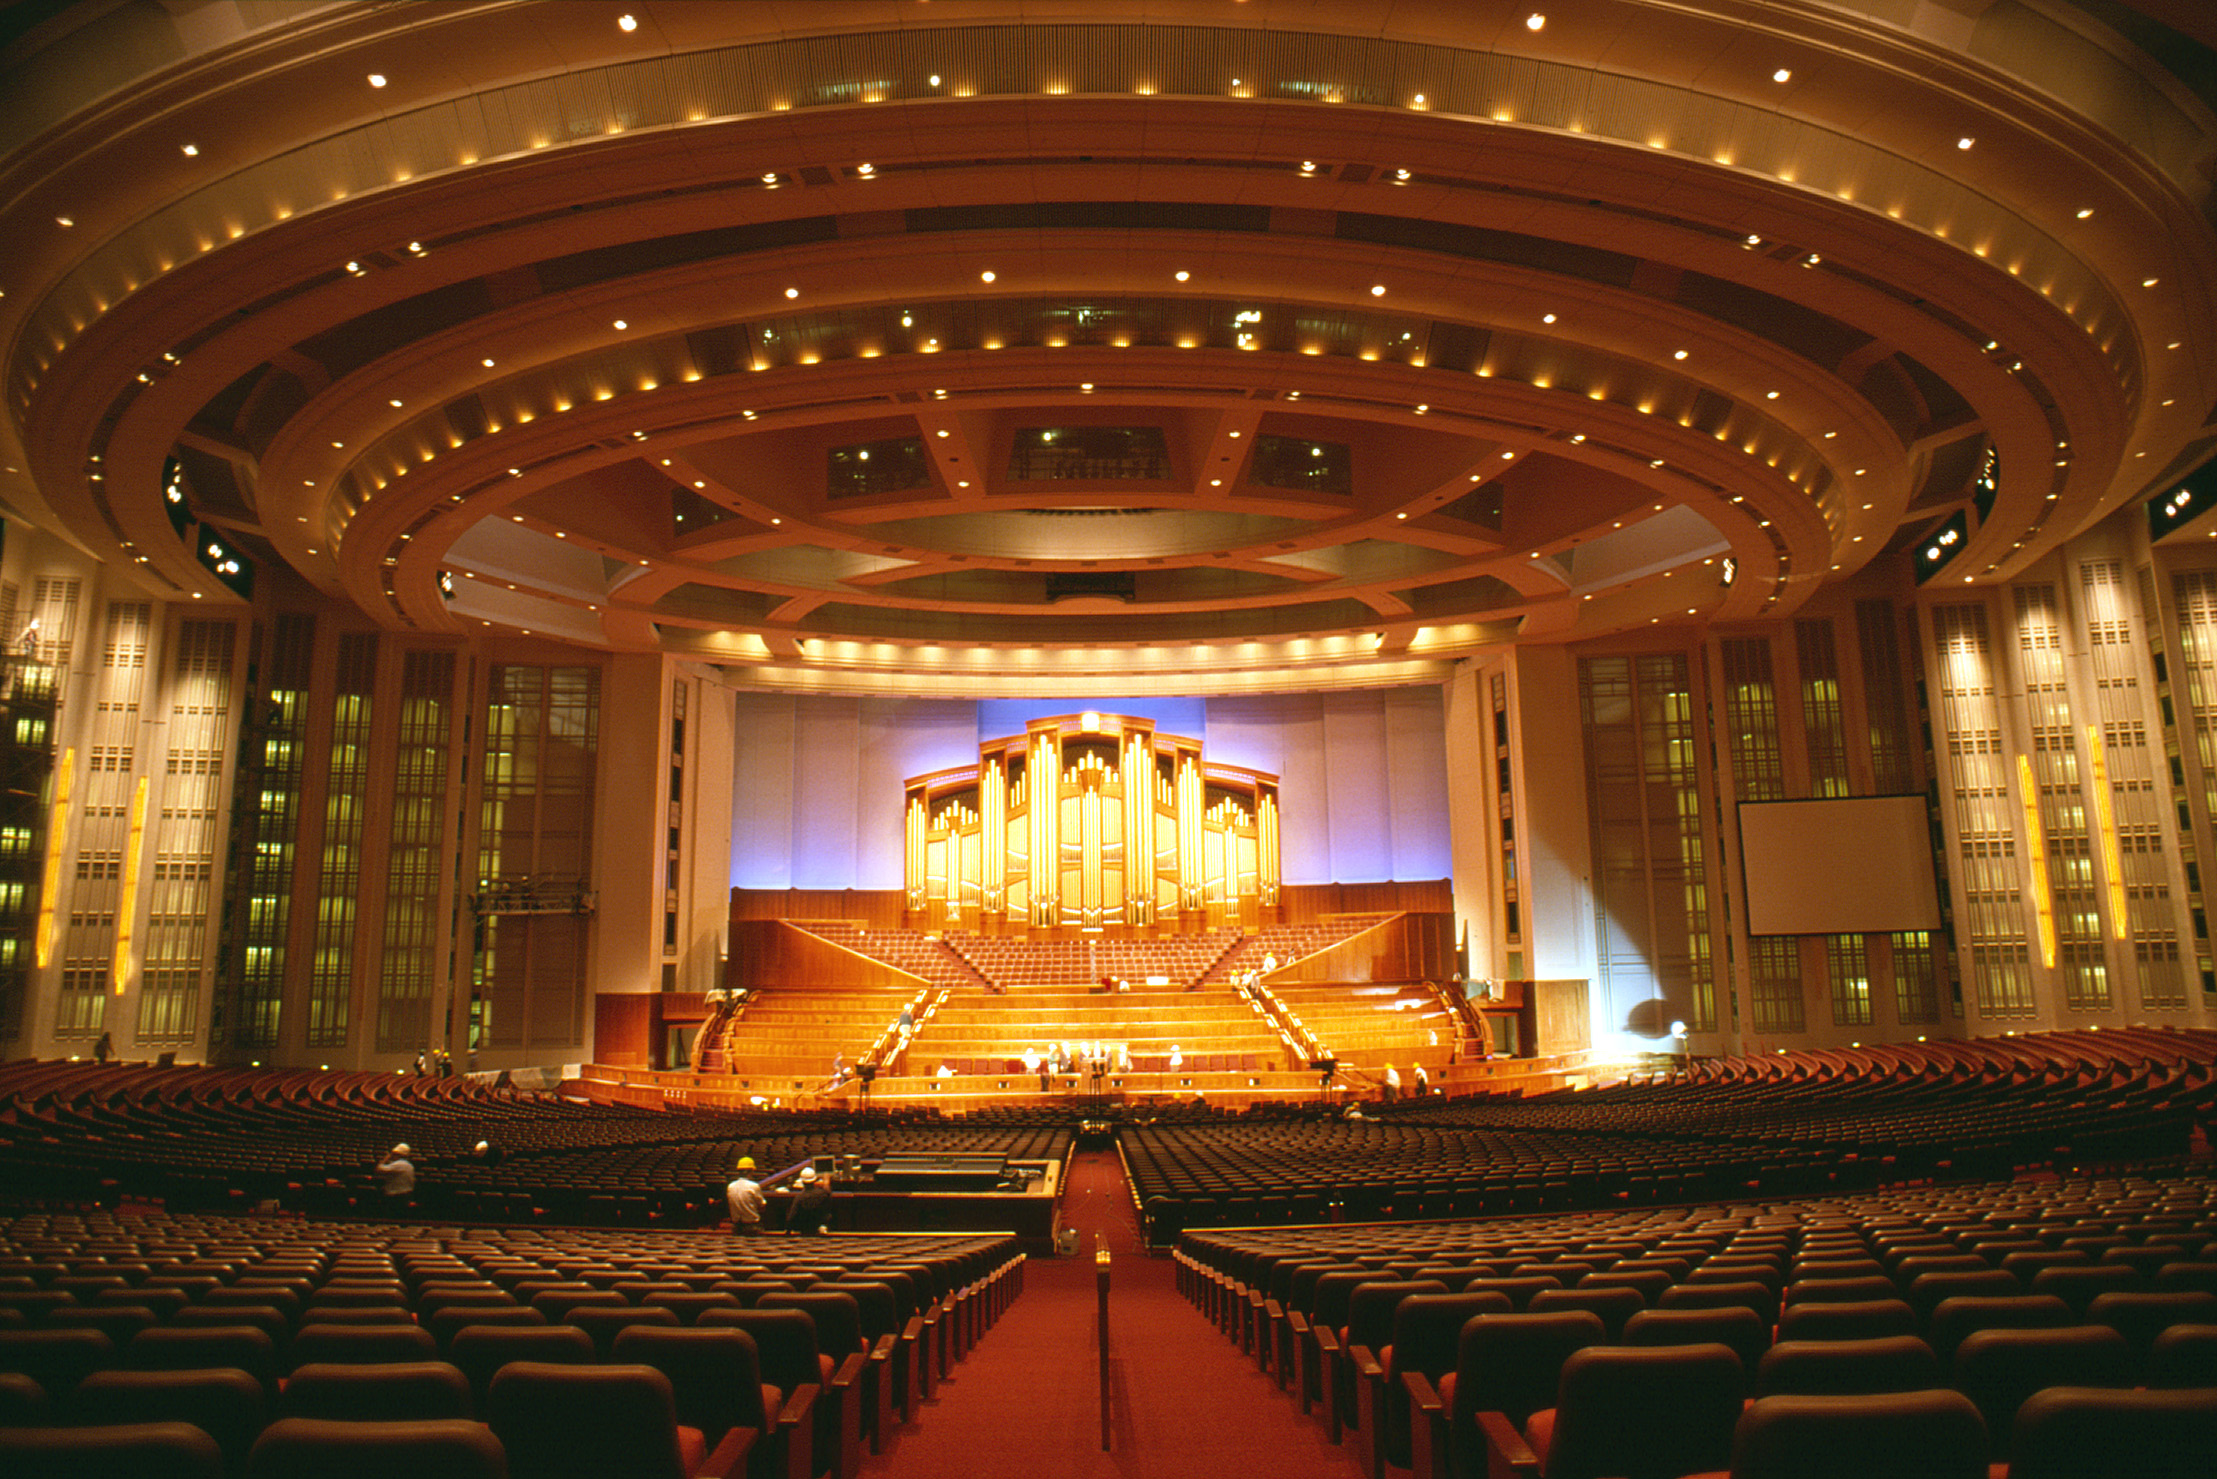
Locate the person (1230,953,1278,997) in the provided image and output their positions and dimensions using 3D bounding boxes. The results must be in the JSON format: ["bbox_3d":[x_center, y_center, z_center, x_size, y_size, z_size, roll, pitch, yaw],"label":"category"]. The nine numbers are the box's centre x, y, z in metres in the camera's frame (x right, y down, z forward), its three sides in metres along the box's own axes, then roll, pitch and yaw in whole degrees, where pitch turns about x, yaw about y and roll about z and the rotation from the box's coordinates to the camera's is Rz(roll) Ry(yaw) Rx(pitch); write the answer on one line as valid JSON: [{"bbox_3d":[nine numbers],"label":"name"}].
[{"bbox_3d":[2.966,4.829,30.835,1.023,0.896,1.266,-3,-13,3],"label":"person"}]
